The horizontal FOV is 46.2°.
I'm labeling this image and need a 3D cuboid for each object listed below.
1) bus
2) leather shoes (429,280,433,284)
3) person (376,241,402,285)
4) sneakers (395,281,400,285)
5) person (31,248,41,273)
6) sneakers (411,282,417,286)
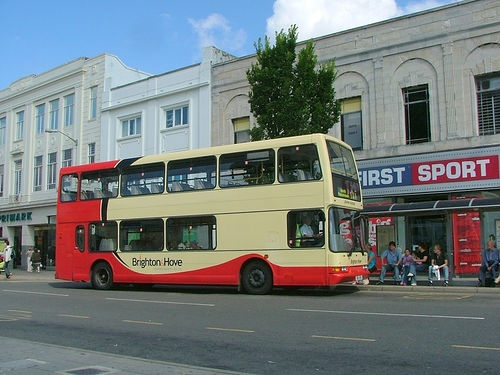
[{"bbox_3d":[-2.037,1.272,22.737,12.864,5.420,2.863,-3,-5,29],"label":"bus"},{"bbox_3d":[7.000,3.644,22.608,0.116,0.118,0.211,7,4,6],"label":"leather shoes"},{"bbox_3d":[5.730,3.129,23.898,0.860,1.877,1.123,-11,-34,32],"label":"person"},{"bbox_3d":[5.863,3.761,23.105,0.183,0.193,0.103,-4,-11,28],"label":"sneakers"},{"bbox_3d":[-15.502,5.224,42.224,0.648,1.617,2.318,1,-5,-21],"label":"person"},{"bbox_3d":[6.405,3.753,22.743,0.267,0.118,0.092,-4,-1,8],"label":"sneakers"}]
